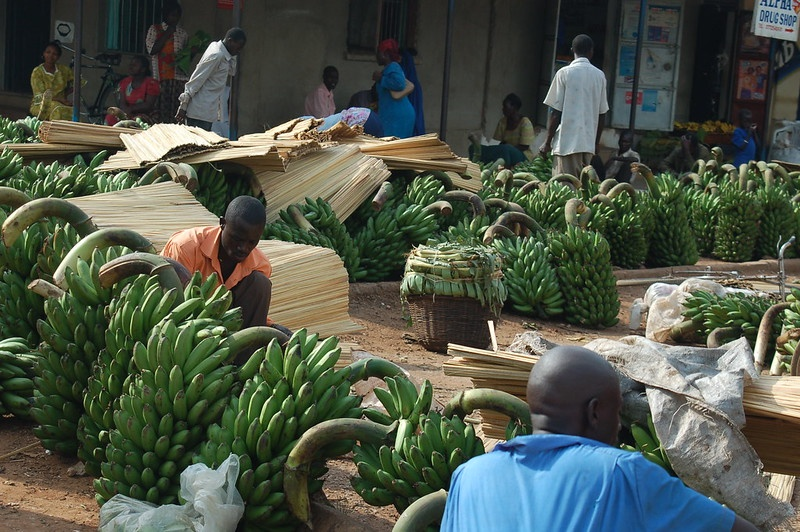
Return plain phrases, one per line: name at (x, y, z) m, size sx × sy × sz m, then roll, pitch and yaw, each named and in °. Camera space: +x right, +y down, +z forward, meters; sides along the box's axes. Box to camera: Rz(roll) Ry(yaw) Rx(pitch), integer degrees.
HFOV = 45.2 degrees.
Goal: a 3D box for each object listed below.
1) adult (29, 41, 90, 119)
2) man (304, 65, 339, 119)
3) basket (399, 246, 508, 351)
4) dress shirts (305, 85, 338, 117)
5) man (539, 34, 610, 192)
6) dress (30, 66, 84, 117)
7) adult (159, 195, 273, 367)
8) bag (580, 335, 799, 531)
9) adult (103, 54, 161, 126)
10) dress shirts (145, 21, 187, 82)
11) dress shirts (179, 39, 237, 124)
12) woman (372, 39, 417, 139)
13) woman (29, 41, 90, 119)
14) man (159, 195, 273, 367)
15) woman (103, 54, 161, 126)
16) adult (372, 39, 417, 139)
adult at (-5.977, -3.153, 16.421) m, size 0.679 × 1.382 × 1.287 m, roll 0°, pitch 8°, yaw -20°
man at (-1.333, -2.942, 16.961) m, size 0.549 × 1.130 × 0.702 m, roll 9°, pitch 18°, yaw -5°
basket at (0.545, 0.293, 9.884) m, size 1.032 × 1.205 × 1.084 m, roll 4°, pitch 10°, yaw 17°
dress shirts at (-1.420, -2.872, 16.892) m, size 0.492 × 0.567 × 0.581 m, roll 2°, pitch 7°, yaw -11°
man at (2.600, -1.944, 14.343) m, size 0.817 × 2.812 × 0.887 m, roll 0°, pitch 7°, yaw -19°
dress at (-5.956, -2.877, 16.502) m, size 0.756 × 1.070 × 0.911 m, roll 7°, pitch 27°, yaw -9°
adult at (-1.562, 0.290, 7.836) m, size 0.978 × 1.639 × 1.017 m, roll 0°, pitch -1°, yaw 24°
bag at (1.995, 1.023, 6.725) m, size 1.380 × 0.617 × 1.118 m, roll 23°, pitch 39°, yaw 24°
adult at (-4.507, -2.889, 16.122) m, size 0.712 × 1.281 × 1.044 m, roll 6°, pitch 10°, yaw 18°
dress shirts at (-3.995, -3.578, 16.449) m, size 0.709 × 1.064 × 0.537 m, roll 3°, pitch -11°, yaw -32°
dress shirts at (-2.870, -2.692, 14.299) m, size 0.599 × 0.820 × 1.610 m, roll 12°, pitch -31°, yaw -12°
woman at (-0.092, -2.583, 15.840) m, size 0.595 × 2.115 × 0.732 m, roll 6°, pitch 14°, yaw 21°
woman at (-5.983, -3.155, 16.436) m, size 0.679 × 1.382 × 1.224 m, roll 0°, pitch 8°, yaw -20°
man at (-1.422, 0.160, 7.361) m, size 0.876 × 1.428 × 0.778 m, roll 24°, pitch 28°, yaw 34°
woman at (-4.504, -2.879, 16.121) m, size 0.682 × 1.313 × 1.101 m, roll 5°, pitch 8°, yaw 12°
adult at (-0.096, -2.564, 15.836) m, size 0.590 × 2.142 × 0.740 m, roll 4°, pitch 12°, yaw 19°
